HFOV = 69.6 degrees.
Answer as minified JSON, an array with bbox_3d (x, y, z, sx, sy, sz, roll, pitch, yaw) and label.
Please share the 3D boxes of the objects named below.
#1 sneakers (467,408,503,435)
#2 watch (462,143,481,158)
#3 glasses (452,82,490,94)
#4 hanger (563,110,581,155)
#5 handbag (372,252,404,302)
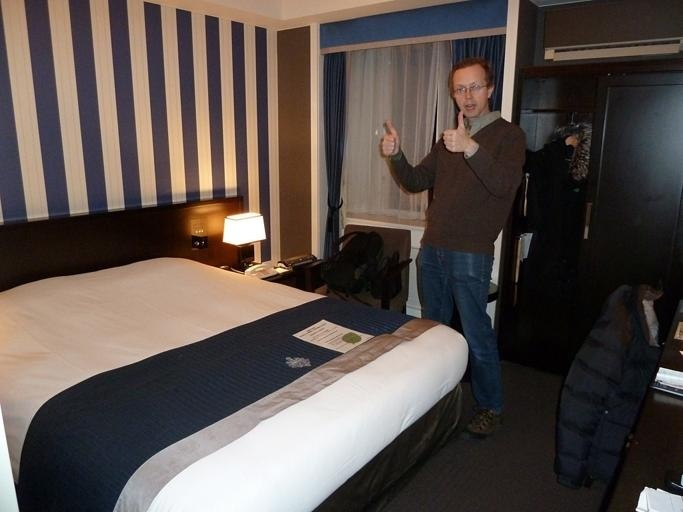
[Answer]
[{"bbox_3d":[0.927,1.077,3.215,0.109,0.117,0.246,4,5,41],"label":"sneakers"},{"bbox_3d":[0.673,-0.545,2.557,0.071,0.025,0.070,-39,10,-20],"label":"watch"},{"bbox_3d":[0.770,-0.987,2.913,0.193,0.057,0.080,2,17,13],"label":"glasses"},{"bbox_3d":[1.767,-0.935,3.751,0.155,0.293,0.099,1,-7,25],"label":"hanger"},{"bbox_3d":[0.389,0.189,4.244,0.233,0.356,0.272,24,30,34],"label":"handbag"}]
